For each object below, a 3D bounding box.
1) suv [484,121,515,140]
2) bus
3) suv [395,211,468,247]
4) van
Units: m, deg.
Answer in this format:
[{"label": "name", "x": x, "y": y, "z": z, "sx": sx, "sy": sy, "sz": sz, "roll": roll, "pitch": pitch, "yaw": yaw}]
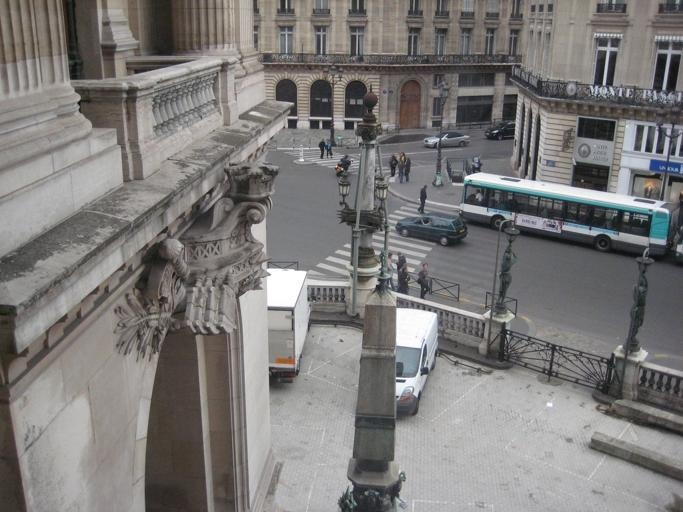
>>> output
[{"label": "suv", "x": 16.765, "y": -13.312, "z": 65.311, "sx": 2.981, "sy": 1.643, "sz": 1.772, "roll": -7, "pitch": 17, "yaw": -25}, {"label": "bus", "x": 12.785, "y": -2.238, "z": 35.512, "sx": 10.829, "sy": 3.177, "sz": 2.149, "roll": 14, "pitch": 24, "yaw": 27}, {"label": "suv", "x": 5.212, "y": -1.812, "z": 35.630, "sx": 3.960, "sy": 1.454, "sz": 1.816, "roll": 12, "pitch": 30, "yaw": 22}, {"label": "van", "x": 2.387, "y": 3.439, "z": 19.440, "sx": 1.448, "sy": 1.462, "sz": 3.858, "roll": 3, "pitch": 21, "yaw": 12}]
